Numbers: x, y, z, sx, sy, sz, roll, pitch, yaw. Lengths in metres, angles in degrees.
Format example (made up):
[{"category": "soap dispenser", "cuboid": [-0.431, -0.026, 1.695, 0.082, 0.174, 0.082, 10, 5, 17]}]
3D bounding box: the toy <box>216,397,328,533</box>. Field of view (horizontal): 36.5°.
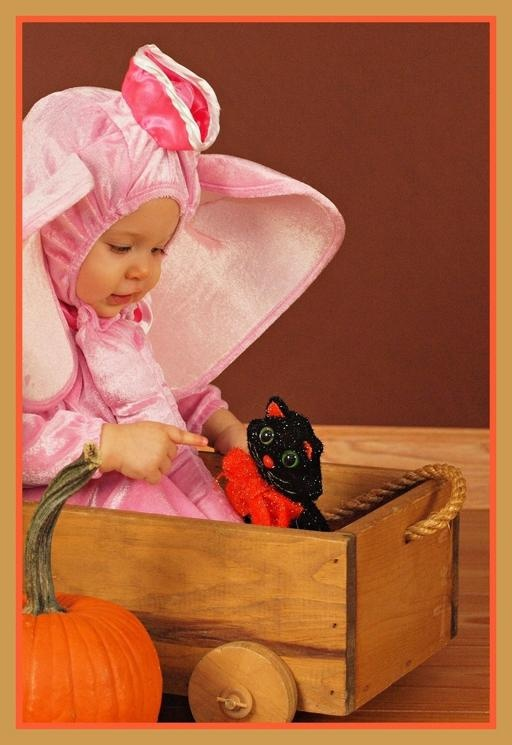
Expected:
[{"category": "toy", "cuboid": [0.024, 0.122, 0.979, 0.139, 0.174, 0.064, 4, 18, 7]}]
